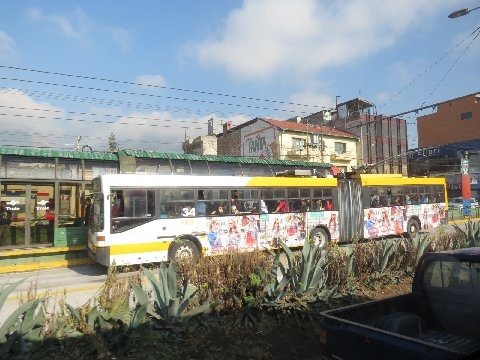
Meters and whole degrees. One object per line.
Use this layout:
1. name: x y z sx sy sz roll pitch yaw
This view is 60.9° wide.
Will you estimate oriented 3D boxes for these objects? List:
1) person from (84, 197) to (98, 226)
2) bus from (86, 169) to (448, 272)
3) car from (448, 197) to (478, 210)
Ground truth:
1. person: -5.012 1.033 13.436 0.248 0.992 2.027 -3 -3 -22
2. bus: 1.581 1.109 15.671 13.631 3.143 2.673 -1 4 -18
3. car: 21.000 2.123 38.391 2.506 0.954 8.960 -5 -3 27
